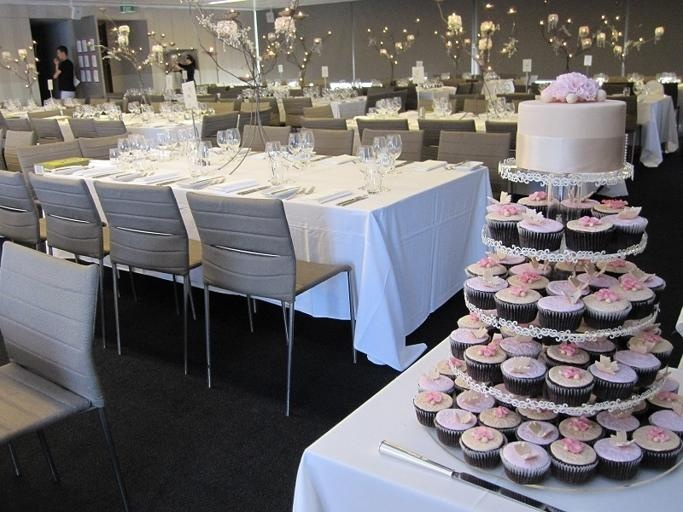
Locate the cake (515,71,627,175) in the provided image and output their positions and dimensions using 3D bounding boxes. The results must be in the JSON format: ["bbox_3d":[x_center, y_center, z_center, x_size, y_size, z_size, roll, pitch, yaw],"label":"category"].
[{"bbox_3d":[0.481,-0.258,1.001,0.212,0.202,0.220,12,22,38],"label":"cake"}]
